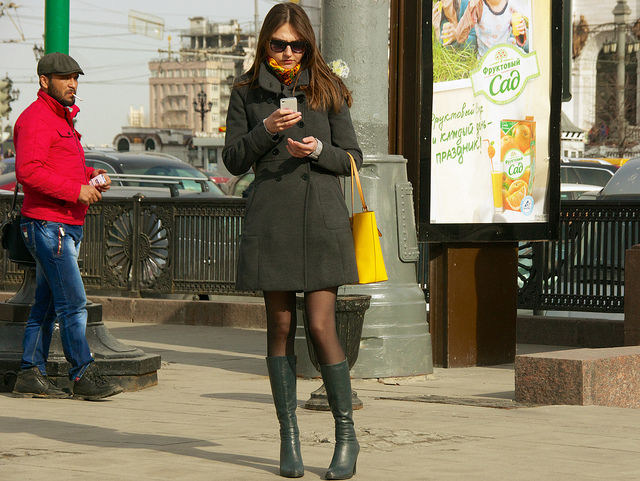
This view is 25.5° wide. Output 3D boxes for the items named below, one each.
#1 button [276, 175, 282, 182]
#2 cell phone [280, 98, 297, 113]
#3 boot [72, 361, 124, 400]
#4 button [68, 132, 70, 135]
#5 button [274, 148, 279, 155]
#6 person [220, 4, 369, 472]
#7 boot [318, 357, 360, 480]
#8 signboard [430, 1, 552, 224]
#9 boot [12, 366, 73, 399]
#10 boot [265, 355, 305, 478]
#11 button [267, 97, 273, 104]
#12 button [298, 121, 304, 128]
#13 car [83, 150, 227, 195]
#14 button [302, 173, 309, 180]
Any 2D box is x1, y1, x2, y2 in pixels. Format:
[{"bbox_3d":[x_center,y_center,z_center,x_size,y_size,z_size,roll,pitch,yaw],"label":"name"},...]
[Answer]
[{"bbox_3d":[-0.271,-0.403,9.193,0.038,0.040,0.009,0,3,8],"label":"button"},{"bbox_3d":[-0.205,-0.859,9.026,0.097,0.169,0.021,-1,-6,12],"label":"cell phone"},{"bbox_3d":[-1.804,1.123,11.323,0.501,0.315,0.221,-7,-7,31],"label":"boot"},{"bbox_3d":[-1.996,-0.845,11.189,0.006,0.021,0.021,0,-12,16],"label":"button"},{"bbox_3d":[-0.288,-0.578,9.215,0.037,0.037,0.010,-1,-3,3],"label":"button"},{"bbox_3d":[-0.183,-0.025,9.242,0.893,3.036,0.551,0,3,0],"label":"person"},{"bbox_3d":[0.114,1.151,9.154,0.254,0.743,0.305,0,3,-2],"label":"boot"},{"bbox_3d":[1.581,-1.207,13.216,1.319,2.087,0.175,-2,4,-24],"label":"signboard"},{"bbox_3d":[-2.285,1.172,11.547,0.495,0.272,0.203,1,3,-7],"label":"boot"},{"bbox_3d":[-0.214,1.136,9.204,0.239,0.767,0.330,-1,3,-17],"label":"boot"},{"bbox_3d":[-0.336,-0.918,9.297,0.037,0.037,0.011,-2,-7,2],"label":"button"},{"bbox_3d":[-0.132,-0.755,9.239,0.038,0.038,0.012,-1,-7,-5],"label":"button"},{"bbox_3d":[-2.575,-0.897,21.403,1.878,0.678,0.869,-2,6,-12],"label":"car"},{"bbox_3d":[-0.097,-0.410,9.176,0.043,0.043,0.014,0,1,-2],"label":"button"}]
